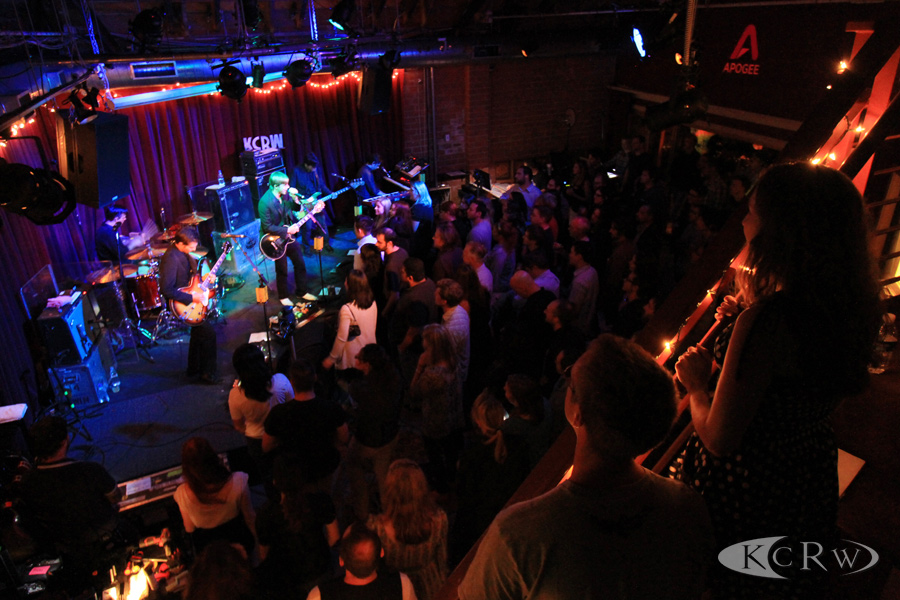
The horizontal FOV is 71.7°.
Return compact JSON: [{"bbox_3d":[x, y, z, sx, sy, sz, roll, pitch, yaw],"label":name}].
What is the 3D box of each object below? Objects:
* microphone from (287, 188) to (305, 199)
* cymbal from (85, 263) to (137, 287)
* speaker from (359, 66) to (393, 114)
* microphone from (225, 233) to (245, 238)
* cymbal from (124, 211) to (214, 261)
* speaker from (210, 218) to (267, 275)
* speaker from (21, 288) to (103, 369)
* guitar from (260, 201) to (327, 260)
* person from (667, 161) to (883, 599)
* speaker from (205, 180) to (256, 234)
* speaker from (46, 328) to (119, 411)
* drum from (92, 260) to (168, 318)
[{"bbox_3d":[-2.339,-1.596,9.343,0.193,0.064,0.270,24,1,-22],"label":"microphone"},{"bbox_3d":[-4.114,-0.304,7.573,0.379,0.090,0.372,-3,17,0],"label":"cymbal"},{"bbox_3d":[-1.259,-3.600,10.539,0.545,0.779,0.338,-6,22,-10],"label":"speaker"},{"bbox_3d":[-3.289,-0.976,9.455,0.306,0.072,0.071,5,-10,29],"label":"microphone"},{"bbox_3d":[-3.791,-0.843,8.390,0.806,0.400,0.572,-4,52,-18],"label":"cymbal"},{"bbox_3d":[-3.417,-0.793,9.888,0.244,1.018,0.562,5,22,11],"label":"speaker"},{"bbox_3d":[-4.258,0.342,6.775,0.399,0.678,0.705,-2,23,-8],"label":"speaker"},{"bbox_3d":[-2.377,-1.037,9.281,0.174,0.424,1.293,-7,33,48],"label":"guitar"},{"bbox_3d":[1.442,0.284,2.788,0.818,1.689,0.605,4,23,15],"label":"person"},{"bbox_3d":[-3.401,-1.415,9.574,0.271,0.682,0.733,4,29,17],"label":"speaker"},{"bbox_3d":[-4.098,0.800,6.893,0.400,0.536,0.729,-10,36,-2],"label":"speaker"},{"bbox_3d":[-3.901,-0.185,7.702,0.769,0.561,0.753,-2,17,1],"label":"drum"}]
